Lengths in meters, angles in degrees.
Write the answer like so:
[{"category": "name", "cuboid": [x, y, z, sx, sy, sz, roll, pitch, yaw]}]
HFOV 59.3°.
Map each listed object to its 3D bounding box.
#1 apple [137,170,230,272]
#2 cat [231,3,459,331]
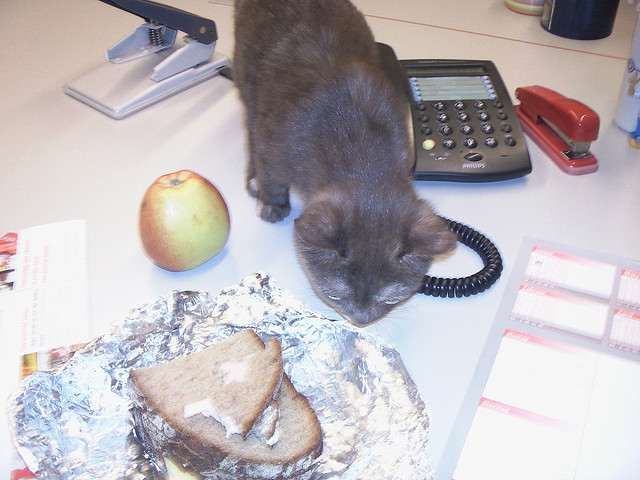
[{"category": "apple", "cuboid": [-0.358, -0.056, 1.491, 0.229, 0.246, 0.269, -4, 40, -3]}, {"category": "cat", "cuboid": [0.053, -0.238, 1.546, 0.350, 0.460, 1.337, -3, 71, -21]}]
